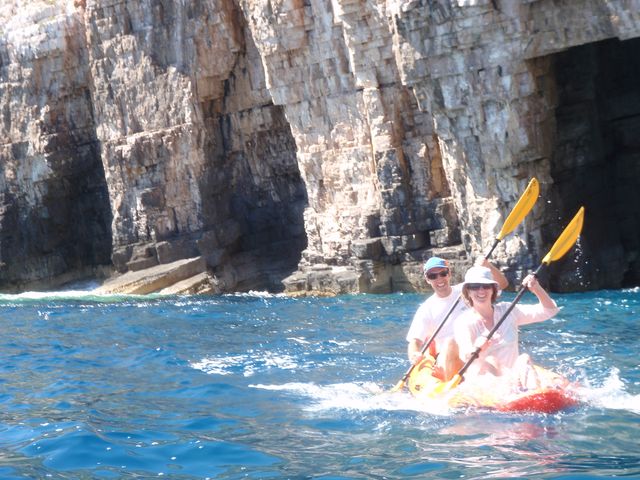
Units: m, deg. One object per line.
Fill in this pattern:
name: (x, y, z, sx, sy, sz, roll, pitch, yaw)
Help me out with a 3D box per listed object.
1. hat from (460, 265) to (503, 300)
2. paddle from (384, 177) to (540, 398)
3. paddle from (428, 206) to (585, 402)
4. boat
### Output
hat: (2.148, 0.582, 13.652, 0.480, 0.457, 0.305, -2, 13, 9)
paddle: (2.321, 0.761, 16.065, 4.590, 0.344, 0.343, -51, 25, -23)
paddle: (2.894, 1.015, 15.269, 3.677, 0.639, 0.304, -50, 19, -17)
boat: (2.278, 2.066, 13.538, 1.314, 0.334, 0.867, -1, 11, 35)
